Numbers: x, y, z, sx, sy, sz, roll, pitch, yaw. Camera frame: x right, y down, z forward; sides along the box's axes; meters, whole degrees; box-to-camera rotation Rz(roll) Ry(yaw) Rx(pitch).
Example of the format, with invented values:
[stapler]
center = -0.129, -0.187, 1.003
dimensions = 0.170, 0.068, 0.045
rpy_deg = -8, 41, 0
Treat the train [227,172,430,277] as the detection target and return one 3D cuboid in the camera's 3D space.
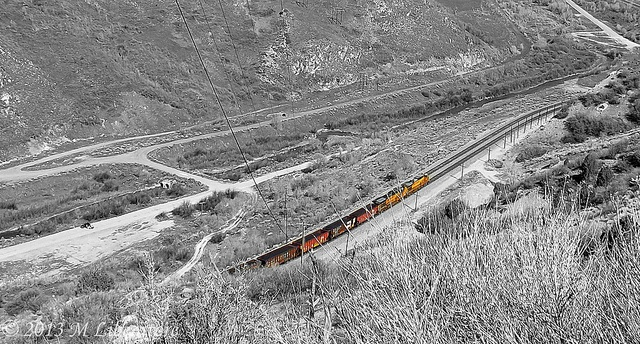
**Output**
[train]
center = 0.432, 4.382, 40.924
dimensions = 1.354, 1.127, 22.632
rpy_deg = 14, 27, 42
